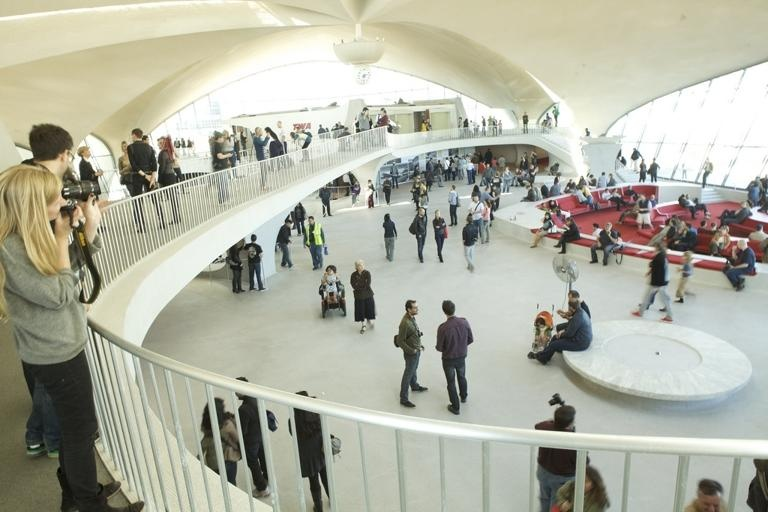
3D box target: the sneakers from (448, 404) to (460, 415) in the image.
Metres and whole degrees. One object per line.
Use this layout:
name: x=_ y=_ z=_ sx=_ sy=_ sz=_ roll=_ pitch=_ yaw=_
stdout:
sneakers: x=1.217 y=2.678 z=9.232 sx=0.106 sy=0.106 sz=0.251 roll=-10 pitch=24 yaw=-13

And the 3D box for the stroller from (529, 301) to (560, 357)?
stroller: x=3.328 y=1.360 z=10.939 sx=0.449 sy=0.793 sz=1.150 roll=1 pitch=34 yaw=28

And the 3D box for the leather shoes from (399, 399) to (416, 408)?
leather shoes: x=0.415 y=2.662 z=9.603 sx=0.280 sy=0.198 sz=0.116 roll=2 pitch=11 yaw=20

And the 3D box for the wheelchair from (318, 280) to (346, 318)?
wheelchair: x=-1.339 y=1.056 z=13.542 sx=0.671 sy=0.927 sz=0.808 roll=-3 pitch=7 yaw=2

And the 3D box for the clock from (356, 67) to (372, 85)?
clock: x=-1.003 y=-8.707 z=25.414 sx=0.505 sy=0.671 sz=1.017 roll=8 pitch=16 yaw=30

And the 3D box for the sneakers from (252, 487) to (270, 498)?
sneakers: x=-1.774 y=3.423 z=7.654 sx=0.290 sy=0.144 sz=0.105 roll=6 pitch=11 yaw=-7
